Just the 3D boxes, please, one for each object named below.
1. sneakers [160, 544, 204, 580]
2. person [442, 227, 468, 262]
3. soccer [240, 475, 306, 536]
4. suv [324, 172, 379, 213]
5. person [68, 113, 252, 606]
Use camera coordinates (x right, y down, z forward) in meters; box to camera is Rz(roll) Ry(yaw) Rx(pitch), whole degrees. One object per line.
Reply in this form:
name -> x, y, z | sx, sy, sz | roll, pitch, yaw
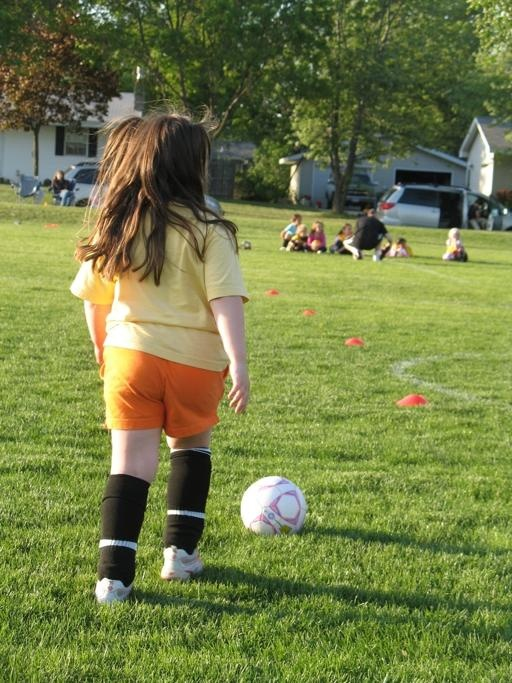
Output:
sneakers -> -0.252, 0.743, 3.280 | 0.070, 0.088, 0.182 | 4, 7, 15
person -> 4.315, -2.102, 20.798 | 0.508, 0.748, 1.269 | 7, 6, 16
soccer -> 0.061, 0.649, 3.798 | 0.225, 0.218, 0.211 | -4, -19, 10
suv -> 4.016, -6.117, 39.596 | 1.440, 1.378, 2.642 | 1, 2, -6
person -> -0.327, 0.041, 3.081 | 0.636, 1.546, 0.397 | 5, 6, 5
